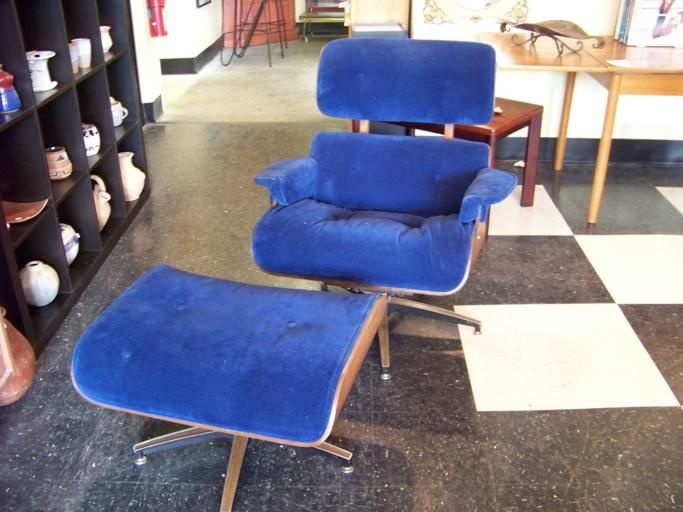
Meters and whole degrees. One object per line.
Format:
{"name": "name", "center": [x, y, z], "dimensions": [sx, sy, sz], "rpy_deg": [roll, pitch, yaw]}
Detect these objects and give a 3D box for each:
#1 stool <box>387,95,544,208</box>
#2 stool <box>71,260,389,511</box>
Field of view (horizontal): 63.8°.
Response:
{"name": "stool", "center": [0.781, -0.563, 3.206], "dimensions": [0.717, 0.614, 0.659], "rpy_deg": [-2, 23, 1]}
{"name": "stool", "center": [-0.317, 0.228, 1.760], "dimensions": [1.004, 0.575, 0.696], "rpy_deg": [12, 43, 7]}
